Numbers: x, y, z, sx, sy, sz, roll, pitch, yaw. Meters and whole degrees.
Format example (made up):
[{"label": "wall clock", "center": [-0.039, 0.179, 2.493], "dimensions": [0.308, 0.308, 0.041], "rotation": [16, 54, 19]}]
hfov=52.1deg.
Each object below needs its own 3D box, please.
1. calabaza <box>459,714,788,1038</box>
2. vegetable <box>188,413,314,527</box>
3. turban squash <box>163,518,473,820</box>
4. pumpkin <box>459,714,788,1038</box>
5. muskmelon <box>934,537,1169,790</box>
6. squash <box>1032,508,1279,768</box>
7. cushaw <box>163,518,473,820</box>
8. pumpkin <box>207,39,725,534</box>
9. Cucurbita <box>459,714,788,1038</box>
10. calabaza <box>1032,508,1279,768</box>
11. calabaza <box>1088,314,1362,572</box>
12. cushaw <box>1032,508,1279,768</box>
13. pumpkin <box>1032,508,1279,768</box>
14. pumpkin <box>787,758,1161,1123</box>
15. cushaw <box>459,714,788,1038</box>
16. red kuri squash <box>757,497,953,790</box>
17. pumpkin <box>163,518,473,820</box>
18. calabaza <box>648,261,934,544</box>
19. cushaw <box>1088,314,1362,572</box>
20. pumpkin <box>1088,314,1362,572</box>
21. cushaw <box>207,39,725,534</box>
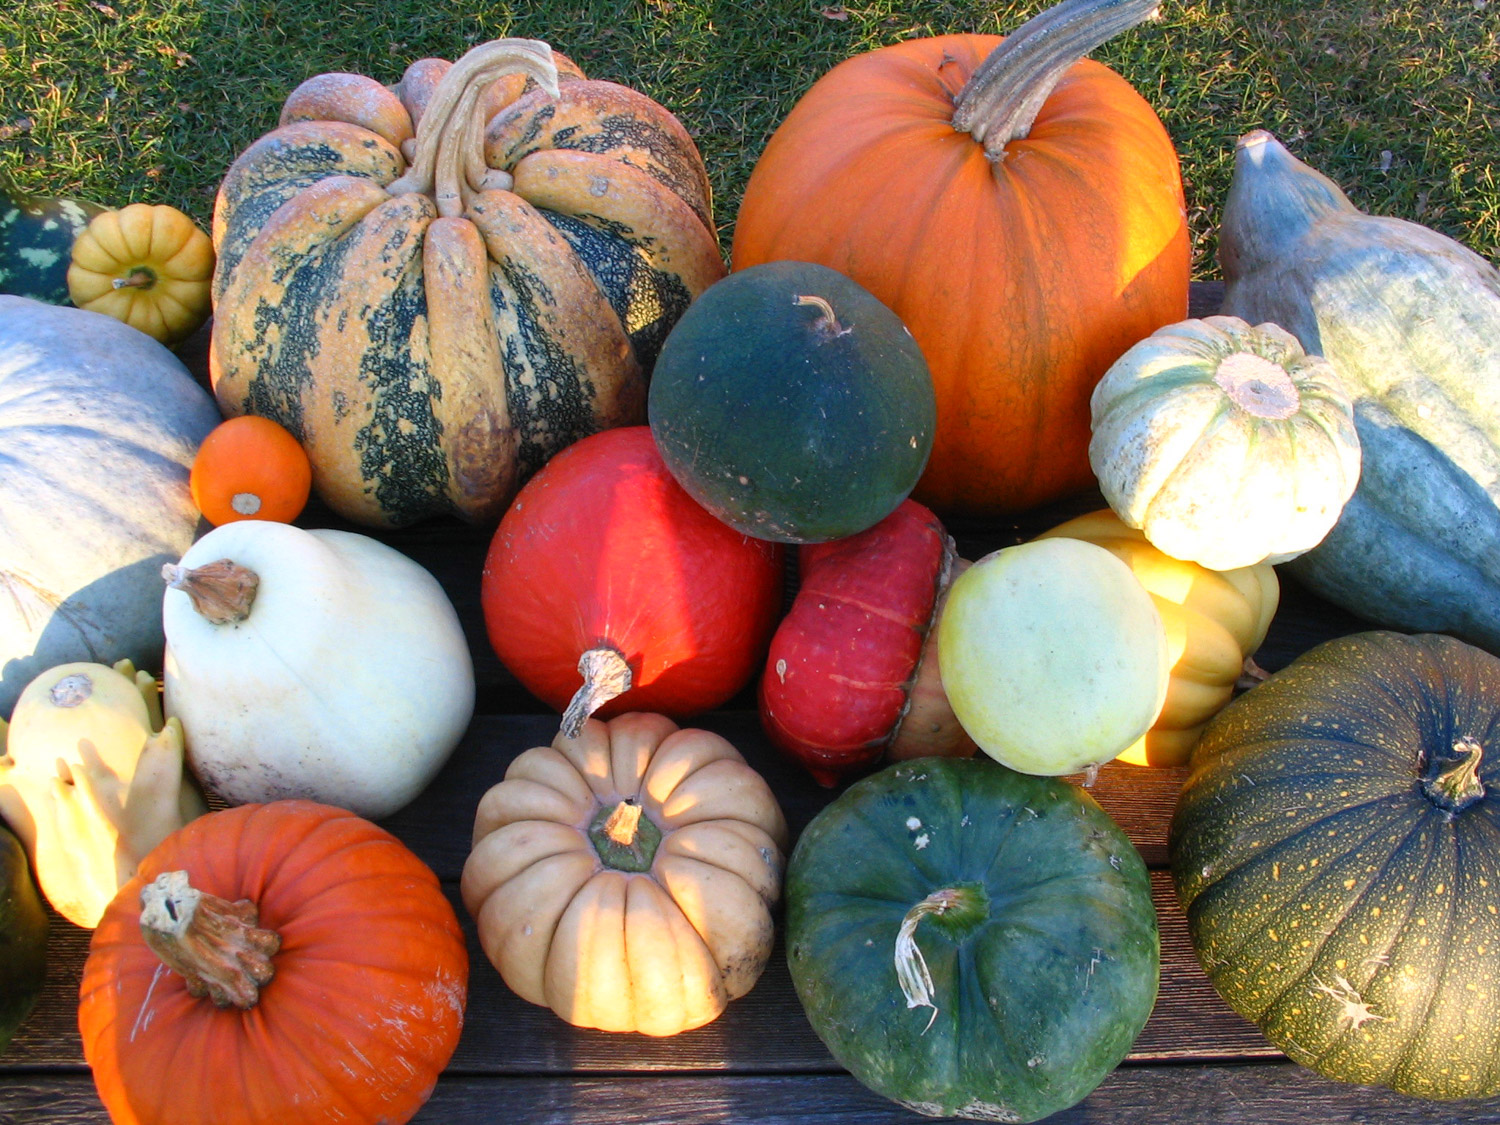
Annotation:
[{"label": "calabaza", "center": [-0.250, 0.608, 3.081], "dimensions": [0.630, 0.270, 0.569], "rotation": [12, 50, 0]}, {"label": "vegetable", "center": [-1.080, -0.197, 3.380], "dimensions": [0.220, 0.248, 0.232], "rotation": [-4, 24, -2]}, {"label": "turban squash", "center": [-0.850, 0.238, 3.267], "dimensions": [0.592, 0.631, 0.621], "rotation": [13, 66, -1]}, {"label": "pumpkin", "center": [-0.250, 0.608, 3.081], "dimensions": [0.630, 0.270, 0.569], "rotation": [12, 50, 0]}, {"label": "muskmelon", "center": [0.618, 0.250, 3.083], "dimensions": [0.526, 0.307, 0.499], "rotation": [-6, 31, 41]}, {"label": "squash", "center": [0.871, 0.136, 3.491], "dimensions": [0.576, 0.525, 0.534], "rotation": [-6, 92, 10]}, {"label": "cushaw", "center": [-0.845, 0.228, 3.305], "dimensions": [0.592, 0.631, 0.621], "rotation": [13, 66, -1]}, {"label": "pumpkin", "center": [-0.666, -0.554, 3.744], "dimensions": [1.020, 0.971, 1.092], "rotation": [24, 70, 0]}, {"label": "Cucurbita", "center": [-0.246, 0.705, 3.254], "dimensions": [0.592, 0.453, 0.611], "rotation": [-32, 72, -18]}, {"label": "calabaza", "center": [0.868, 0.135, 3.493], "dimensions": [0.576, 0.525, 0.534], "rotation": [-6, 92, 10]}, {"label": "calabaza", "center": [0.985, -0.237, 3.295], "dimensions": [0.488, 0.283, 0.513], "rotation": [39, 95, 13]}, {"label": "cushaw", "center": [0.882, 0.127, 3.490], "dimensions": [0.576, 0.525, 0.534], "rotation": [-6, 92, 10]}, {"label": "pumpkin", "center": [0.865, 0.136, 3.475], "dimensions": [0.576, 0.525, 0.534], "rotation": [-6, 92, 10]}, {"label": "pumpkin", "center": [0.415, 0.716, 2.956], "dimensions": [0.669, 0.317, 0.564], "rotation": [9, 50, -2]}, {"label": "cushaw", "center": [-0.250, 0.608, 3.081], "dimensions": [0.630, 0.270, 0.569], "rotation": [12, 50, 0]}, {"label": "red kuri squash", "center": [0.257, 0.160, 3.126], "dimensions": [0.389, 0.262, 0.510], "rotation": [30, 81, -15]}, {"label": "pumpkin", "center": [-0.841, 0.243, 3.303], "dimensions": [0.592, 0.631, 0.621], "rotation": [13, 66, -1]}, {"label": "calabaza", "center": [0.059, -0.337, 3.183], "dimensions": [0.511, 0.527, 0.532], "rotation": [24, 45, -9]}, {"label": "cushaw", "center": [0.966, -0.234, 3.181], "dimensions": [0.476, 0.337, 0.448], "rotation": [-4, 51, -12]}, {"label": "pumpkin", "center": [0.966, -0.234, 3.181], "dimensions": [0.476, 0.337, 0.448], "rotation": [-4, 51, -12]}, {"label": "cushaw", "center": [-0.625, -0.521, 3.674], "dimensions": [1.020, 0.971, 1.092], "rotation": [24, 70, 0]}]
